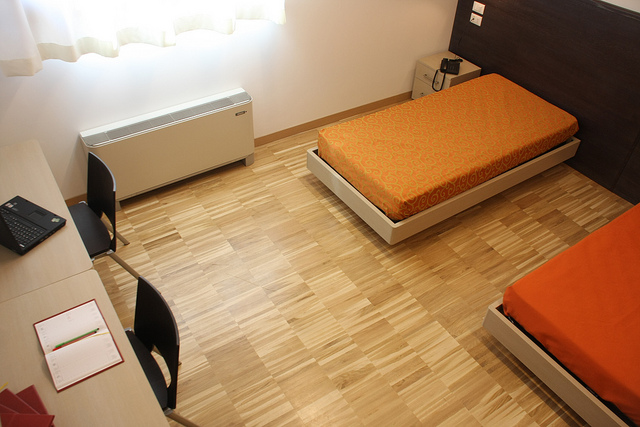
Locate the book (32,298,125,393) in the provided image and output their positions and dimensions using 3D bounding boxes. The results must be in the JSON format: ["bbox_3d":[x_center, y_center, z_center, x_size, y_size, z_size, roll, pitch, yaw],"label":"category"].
[{"bbox_3d":[-1.294,0.695,2.275,0.327,0.078,0.426,-26,53,-22],"label":"book"}]

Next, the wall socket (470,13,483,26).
[{"bbox_3d":[1.729,-2.158,4.720,0.022,0.109,0.163,-34,56,-28],"label":"wall socket"}]

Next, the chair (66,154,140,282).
[{"bbox_3d":[-1.671,0.028,3.266,0.596,0.856,0.499,-27,73,-31],"label":"chair"}]

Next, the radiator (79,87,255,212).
[{"bbox_3d":[-1.362,-0.617,4.056,1.535,0.732,0.336,-25,50,-28],"label":"radiator"}]

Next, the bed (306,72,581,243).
[{"bbox_3d":[1.276,-0.701,4.257,2.448,0.459,1.350,-26,54,-22],"label":"bed"}]
